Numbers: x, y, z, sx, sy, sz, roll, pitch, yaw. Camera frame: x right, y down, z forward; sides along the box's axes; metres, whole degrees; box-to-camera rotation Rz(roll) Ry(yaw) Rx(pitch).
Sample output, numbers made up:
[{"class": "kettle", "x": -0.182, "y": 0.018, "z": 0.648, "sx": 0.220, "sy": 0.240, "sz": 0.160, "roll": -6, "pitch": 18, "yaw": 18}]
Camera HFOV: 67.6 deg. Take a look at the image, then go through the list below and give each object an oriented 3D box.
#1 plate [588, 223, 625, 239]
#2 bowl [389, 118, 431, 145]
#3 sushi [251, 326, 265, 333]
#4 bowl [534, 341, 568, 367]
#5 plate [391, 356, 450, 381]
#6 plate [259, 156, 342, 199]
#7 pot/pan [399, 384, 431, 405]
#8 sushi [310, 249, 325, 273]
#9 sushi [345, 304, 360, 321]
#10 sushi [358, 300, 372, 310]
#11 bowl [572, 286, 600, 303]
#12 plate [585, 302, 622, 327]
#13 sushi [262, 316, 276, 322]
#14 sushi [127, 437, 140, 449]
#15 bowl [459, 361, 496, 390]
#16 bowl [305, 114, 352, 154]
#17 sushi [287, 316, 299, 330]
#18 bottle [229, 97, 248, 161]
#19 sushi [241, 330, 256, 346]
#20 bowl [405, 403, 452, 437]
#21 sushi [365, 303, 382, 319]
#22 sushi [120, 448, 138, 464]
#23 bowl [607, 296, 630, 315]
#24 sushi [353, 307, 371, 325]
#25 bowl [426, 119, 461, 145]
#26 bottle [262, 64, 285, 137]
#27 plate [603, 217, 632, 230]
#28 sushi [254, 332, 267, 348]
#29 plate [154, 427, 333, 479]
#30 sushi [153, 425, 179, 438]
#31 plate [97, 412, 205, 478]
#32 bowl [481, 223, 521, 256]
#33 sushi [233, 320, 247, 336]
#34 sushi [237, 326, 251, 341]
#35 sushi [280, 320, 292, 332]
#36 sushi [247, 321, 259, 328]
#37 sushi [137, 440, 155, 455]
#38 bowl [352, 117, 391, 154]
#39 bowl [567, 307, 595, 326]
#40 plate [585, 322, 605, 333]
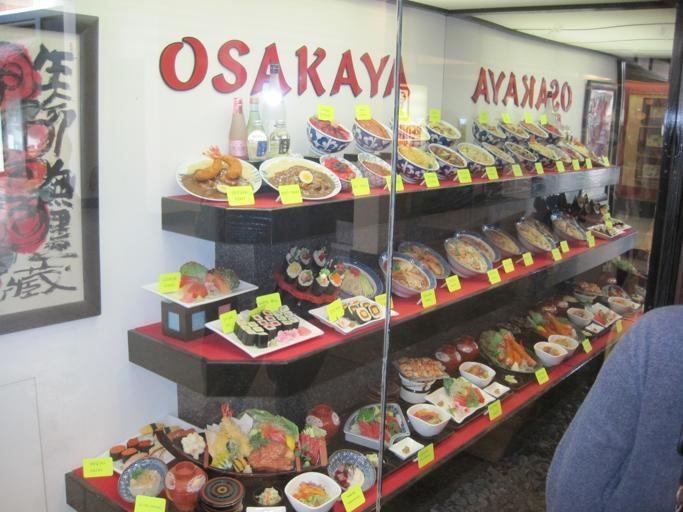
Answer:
[{"class": "plate", "x": 1.007, "y": -0.098, "z": 1.923, "sx": 0.121, "sy": 0.079, "sz": 0.020, "roll": -17, "pitch": 8, "yaw": -23}, {"class": "bowl", "x": 0.204, "y": -0.348, "z": 1.432, "sx": 0.097, "sy": 0.071, "sz": 0.015, "roll": -8, "pitch": 18, "yaw": -27}, {"class": "sushi", "x": -0.213, "y": 0.184, "z": 1.300, "sx": 0.020, "sy": 0.006, "sz": 0.018, "roll": 15, "pitch": 19, "yaw": 10}, {"class": "bowl", "x": 0.770, "y": 0.331, "z": 1.855, "sx": 0.108, "sy": 0.078, "sz": 0.121, "roll": 5, "pitch": 5, "yaw": 20}, {"class": "plate", "x": 0.249, "y": 0.346, "z": 1.507, "sx": 0.144, "sy": 0.086, "sz": 0.038, "roll": 3, "pitch": -20, "yaw": -33}, {"class": "plate", "x": -0.103, "y": -0.221, "z": 1.341, "sx": 0.143, "sy": 0.032, "sz": 0.138, "roll": -14, "pitch": 54, "yaw": -40}, {"class": "pot/pan", "x": 0.220, "y": 0.422, "z": 1.552, "sx": 0.073, "sy": 0.053, "sz": 0.072, "roll": 1, "pitch": 13, "yaw": -3}, {"class": "sushi", "x": -0.065, "y": 0.013, "z": 1.359, "sx": 0.039, "sy": 0.055, "sz": 0.019, "roll": 7, "pitch": -1, "yaw": -41}, {"class": "sushi", "x": 0.029, "y": 0.152, "z": 1.406, "sx": 0.031, "sy": 0.041, "sz": 0.015, "roll": -25, "pitch": 4, "yaw": -34}, {"class": "sushi", "x": 0.062, "y": 0.133, "z": 1.425, "sx": 0.026, "sy": 0.026, "sz": 0.007, "roll": 7, "pitch": 1, "yaw": -32}, {"class": "bowl", "x": 0.909, "y": 0.135, "z": 1.901, "sx": 0.065, "sy": 0.035, "sz": 0.085, "roll": 4, "pitch": 3, "yaw": 44}, {"class": "plate", "x": 1.016, "y": 0.226, "z": 1.971, "sx": 0.108, "sy": 0.112, "sz": 0.036, "roll": 34, "pitch": -43, "yaw": -21}, {"class": "sushi", "x": -0.186, "y": 0.159, "z": 1.314, "sx": 0.020, "sy": 0.005, "sz": 0.014, "roll": 5, "pitch": 51, "yaw": -36}, {"class": "sushi", "x": -0.489, "y": 0.437, "z": 1.198, "sx": 0.025, "sy": 0.016, "sz": 0.025, "roll": 2, "pitch": 24, "yaw": -4}, {"class": "bowl", "x": 0.450, "y": 0.385, "z": 1.690, "sx": 0.126, "sy": 0.053, "sz": 0.099, "roll": 21, "pitch": 18, "yaw": 16}, {"class": "bowl", "x": -0.037, "y": -0.324, "z": 1.371, "sx": 0.094, "sy": 0.063, "sz": 0.094, "roll": 28, "pitch": 18, "yaw": -10}, {"class": "sushi", "x": -0.126, "y": 0.175, "z": 1.351, "sx": 0.034, "sy": 0.033, "sz": 0.025, "roll": -1, "pitch": 6, "yaw": -41}, {"class": "bottle", "x": -0.245, "y": -0.306, "z": 1.228, "sx": 0.041, "sy": 0.145, "sz": 0.074, "roll": 5, "pitch": 16, "yaw": 16}, {"class": "sushi", "x": -0.241, "y": 0.205, "z": 1.305, "sx": 0.051, "sy": 0.037, "sz": 0.028, "roll": 3, "pitch": 3, "yaw": -14}, {"class": "bowl", "x": 0.277, "y": 0.477, "z": 1.560, "sx": 0.126, "sy": 0.067, "sz": 0.114, "roll": 10, "pitch": 5, "yaw": -6}, {"class": "sushi", "x": 0.094, "y": 0.154, "z": 1.432, "sx": 0.034, "sy": 0.043, "sz": 0.014, "roll": -4, "pitch": -7, "yaw": -14}, {"class": "sushi", "x": -0.501, "y": 0.466, "z": 1.205, "sx": 0.038, "sy": 0.036, "sz": 0.035, "roll": 3, "pitch": 13, "yaw": -4}, {"class": "bowl", "x": 1.097, "y": 0.190, "z": 2.019, "sx": 0.100, "sy": 0.045, "sz": 0.071, "roll": 11, "pitch": 26, "yaw": -1}, {"class": "sushi", "x": 0.056, "y": 0.163, "z": 1.418, "sx": 0.041, "sy": 0.052, "sz": 0.019, "roll": -26, "pitch": -6, "yaw": -30}, {"class": "bowl", "x": 0.292, "y": -0.356, "z": 1.471, "sx": 0.074, "sy": 0.030, "sz": 0.073, "roll": 17, "pitch": 37, "yaw": -14}, {"class": "bottle", "x": -0.170, "y": -0.387, "z": 1.262, "sx": 0.027, "sy": 0.165, "sz": 0.075, "roll": 13, "pitch": 20, "yaw": 38}, {"class": "plate", "x": 1.039, "y": -0.129, "z": 1.919, "sx": 0.072, "sy": 0.024, "sz": 0.069, "roll": 10, "pitch": 21, "yaw": 35}, {"class": "sushi", "x": -0.209, "y": 0.211, "z": 1.305, "sx": 0.034, "sy": 0.058, "sz": 0.032, "roll": -1, "pitch": 6, "yaw": -12}, {"class": "plate", "x": -0.245, "y": 0.517, "z": 1.309, "sx": 0.413, "sy": 0.058, "sz": 0.143, "roll": 17, "pitch": 27, "yaw": -18}, {"class": "sushi", "x": -0.431, "y": 0.429, "z": 1.253, "sx": 0.049, "sy": 0.029, "sz": 0.014, "roll": -5, "pitch": 20, "yaw": -28}, {"class": "plate", "x": -0.467, "y": 0.443, "z": 1.234, "sx": 0.115, "sy": 0.033, "sz": 0.141, "roll": 12, "pitch": 17, "yaw": 35}, {"class": "bowl", "x": 0.500, "y": -0.048, "z": 1.629, "sx": 0.114, "sy": 0.025, "sz": 0.093, "roll": 27, "pitch": 32, "yaw": -32}, {"class": "sushi", "x": -0.259, "y": 0.181, "z": 1.290, "sx": 0.038, "sy": 0.036, "sz": 0.021, "roll": 1, "pitch": -2, "yaw": 10}, {"class": "sushi", "x": -0.249, "y": 0.194, "z": 1.290, "sx": 0.032, "sy": 0.022, "sz": 0.018, "roll": 14, "pitch": -1, "yaw": 32}, {"class": "sushi", "x": -0.146, "y": 0.178, "z": 1.346, "sx": 0.021, "sy": 0.028, "sz": 0.029, "roll": 6, "pitch": 8, "yaw": 36}, {"class": "sushi", "x": -0.226, "y": 0.172, "z": 1.296, "sx": 0.016, "sy": 0.015, "sz": 0.005, "roll": -18, "pitch": -11, "yaw": -48}, {"class": "sushi", "x": -0.471, "y": 0.454, "z": 1.227, "sx": 0.031, "sy": 0.036, "sz": 0.020, "roll": -10, "pitch": 53, "yaw": -26}, {"class": "bowl", "x": 0.081, "y": -0.330, "z": 1.407, "sx": 0.090, "sy": 0.058, "sz": 0.090, "roll": 25, "pitch": 23, "yaw": -12}, {"class": "bowl", "x": 0.880, "y": 0.227, "z": 1.894, "sx": 0.096, "sy": 0.046, "sz": 0.078, "roll": 9, "pitch": 17, "yaw": 17}, {"class": "plate", "x": 0.978, "y": 0.274, "z": 1.964, "sx": 0.054, "sy": 0.054, "sz": 0.012, "roll": 39, "pitch": -21, "yaw": -11}]
